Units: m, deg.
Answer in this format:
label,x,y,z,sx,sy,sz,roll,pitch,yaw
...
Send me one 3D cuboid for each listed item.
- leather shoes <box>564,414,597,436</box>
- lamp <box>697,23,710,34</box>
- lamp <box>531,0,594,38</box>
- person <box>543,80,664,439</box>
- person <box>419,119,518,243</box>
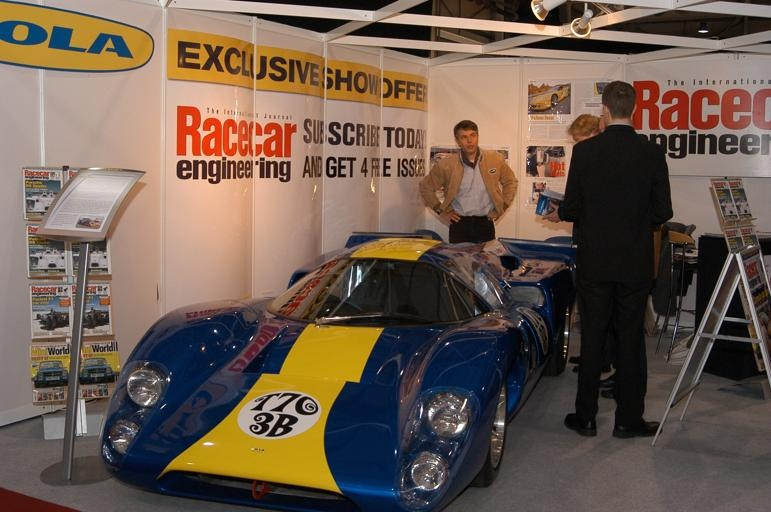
label,x,y,z,sx,sy,sz,roll,pitch,yaw
leather shoes,1.355,1.172,4.253,0.219,0.092,0.108,27,54,38
lamp,3.737,-2.692,7.142,0.109,0.106,0.112,0,-3,-1
lamp,1.583,-2.144,5.380,0.464,0.314,1.106,5,12,19
person,1.646,-0.001,4.410,0.751,2.432,0.753,2,4,26
person,0.917,-0.819,6.679,1.037,1.309,0.521,2,11,9
